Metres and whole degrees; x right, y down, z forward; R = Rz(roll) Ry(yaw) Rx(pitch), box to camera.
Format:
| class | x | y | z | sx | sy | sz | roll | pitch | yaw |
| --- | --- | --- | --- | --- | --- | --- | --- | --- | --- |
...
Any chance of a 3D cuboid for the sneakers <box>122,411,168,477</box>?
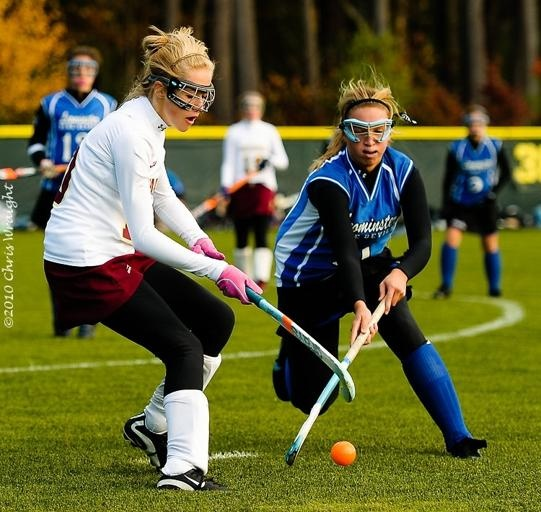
| class | x | y | z | sx | sy | sz | roll | pitch | yaw |
| --- | --- | --- | --- | --- | --- | --- | --- | --- | --- |
| sneakers | -0.545 | 0.826 | 4.076 | 0.284 | 0.134 | 0.097 | 48 | 25 | -7 |

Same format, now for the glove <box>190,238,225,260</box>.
| class | x | y | z | sx | sy | sz | roll | pitch | yaw |
| --- | --- | --- | --- | --- | --- | --- | --- | --- | --- |
| glove | -0.271 | -0.017 | 4.091 | 0.143 | 0.084 | 0.059 | 41 | -18 | 33 |

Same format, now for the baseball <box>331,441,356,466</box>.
| class | x | y | z | sx | sy | sz | roll | pitch | yaw |
| --- | --- | --- | --- | --- | --- | --- | --- | --- | --- |
| baseball | 0.320 | 0.858 | 4.066 | 0.102 | 0.105 | 0.101 | 1 | 6 | 0 |

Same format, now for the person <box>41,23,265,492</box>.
| class | x | y | z | sx | sy | sz | roll | pitch | yaw |
| --- | --- | --- | --- | --- | --- | --- | --- | --- | --- |
| person | -0.509 | -0.005 | 3.861 | 0.839 | 1.934 | 0.597 | -2 | 6 | -15 |

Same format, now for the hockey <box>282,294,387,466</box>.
| class | x | y | z | sx | sy | sz | roll | pitch | yaw |
| --- | --- | --- | --- | --- | --- | --- | --- | --- | --- |
| hockey | 0.300 | 0.620 | 4.549 | 0.043 | 0.817 | 0.083 | 24 | -8 | 14 |

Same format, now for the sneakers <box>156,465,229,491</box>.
| class | x | y | z | sx | sy | sz | roll | pitch | yaw |
| --- | --- | --- | --- | --- | --- | --- | --- | --- | --- |
| sneakers | -0.323 | 0.902 | 3.777 | 0.296 | 0.120 | 0.107 | 3 | -1 | -10 |

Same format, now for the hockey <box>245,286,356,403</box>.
| class | x | y | z | sx | sy | sz | roll | pitch | yaw |
| --- | --- | --- | --- | --- | --- | --- | --- | --- | --- |
| hockey | 0.156 | 0.480 | 4.860 | 0.956 | 0.166 | 0.079 | 46 | -9 | -23 |
